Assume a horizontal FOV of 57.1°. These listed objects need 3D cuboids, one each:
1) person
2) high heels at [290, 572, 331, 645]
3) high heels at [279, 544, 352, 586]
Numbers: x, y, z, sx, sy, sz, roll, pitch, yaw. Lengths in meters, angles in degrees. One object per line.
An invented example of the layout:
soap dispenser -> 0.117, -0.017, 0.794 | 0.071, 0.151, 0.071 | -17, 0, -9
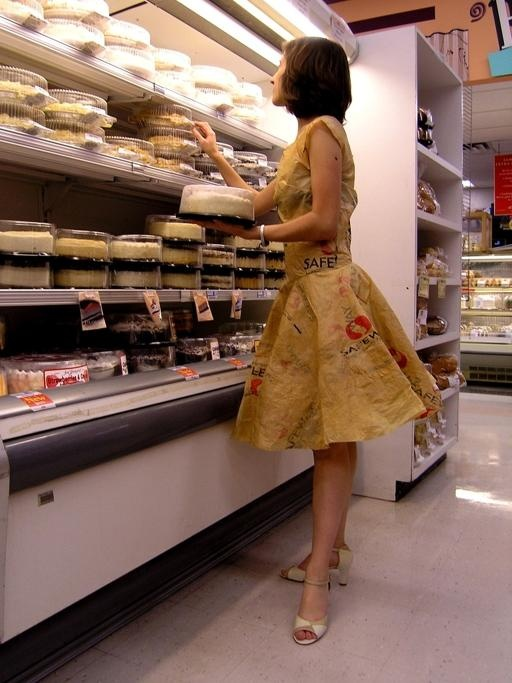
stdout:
person -> 0.173, -0.007, 1.368 | 0.594, 1.581, 0.468 | -1, -2, 22
high heels -> 0.143, 0.690, 1.231 | 0.071, 0.153, 0.130 | -2, -2, 27
high heels -> 0.219, 0.739, 1.604 | 0.301, 0.148, 0.103 | -1, -8, 11
